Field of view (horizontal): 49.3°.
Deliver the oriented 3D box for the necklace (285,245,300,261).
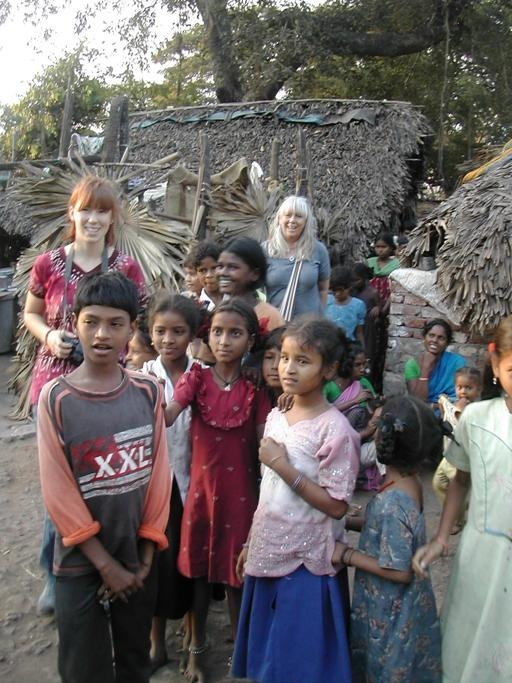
[{"bbox_3d":[0.262,-0.621,3.967,0.079,0.097,0.037,-2,-28,13],"label":"necklace"}]
